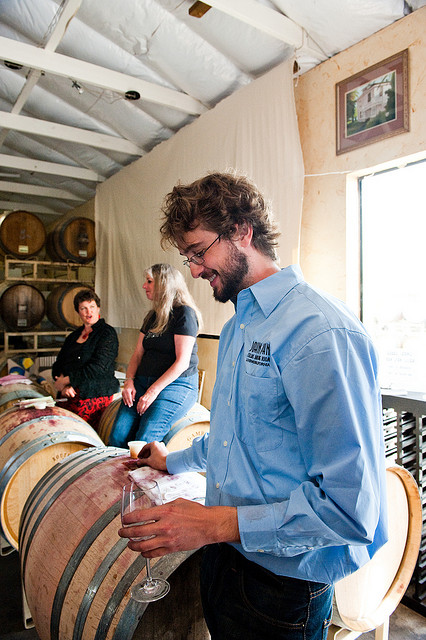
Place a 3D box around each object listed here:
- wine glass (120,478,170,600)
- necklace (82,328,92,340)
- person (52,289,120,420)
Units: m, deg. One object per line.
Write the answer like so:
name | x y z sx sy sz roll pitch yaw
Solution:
wine glass | -0.143 0.496 1.033 0.079 0.080 0.196 -20 30 3
necklace | -0.905 0.099 3.354 0.044 0.052 0.052 3 -15 2
person | -0.865 0.195 3.208 0.432 0.815 0.656 -3 4 -20
